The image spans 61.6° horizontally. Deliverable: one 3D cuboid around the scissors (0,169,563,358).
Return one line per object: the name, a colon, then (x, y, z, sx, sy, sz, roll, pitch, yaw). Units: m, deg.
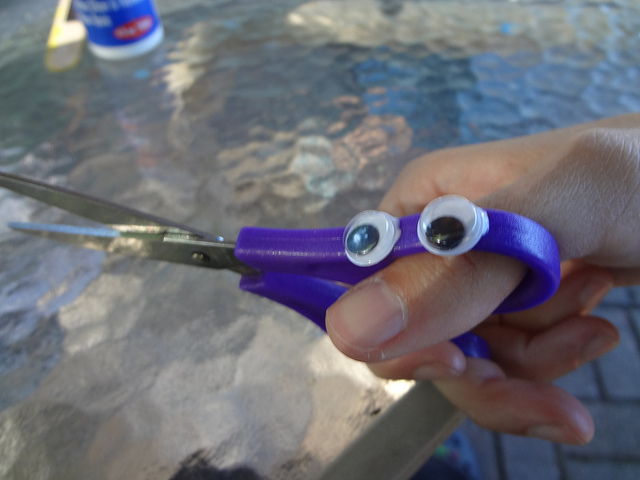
scissors: (-0.057, -0.060, 0.554, 0.499, 0.084, 0.304, 12, 24, 7)
